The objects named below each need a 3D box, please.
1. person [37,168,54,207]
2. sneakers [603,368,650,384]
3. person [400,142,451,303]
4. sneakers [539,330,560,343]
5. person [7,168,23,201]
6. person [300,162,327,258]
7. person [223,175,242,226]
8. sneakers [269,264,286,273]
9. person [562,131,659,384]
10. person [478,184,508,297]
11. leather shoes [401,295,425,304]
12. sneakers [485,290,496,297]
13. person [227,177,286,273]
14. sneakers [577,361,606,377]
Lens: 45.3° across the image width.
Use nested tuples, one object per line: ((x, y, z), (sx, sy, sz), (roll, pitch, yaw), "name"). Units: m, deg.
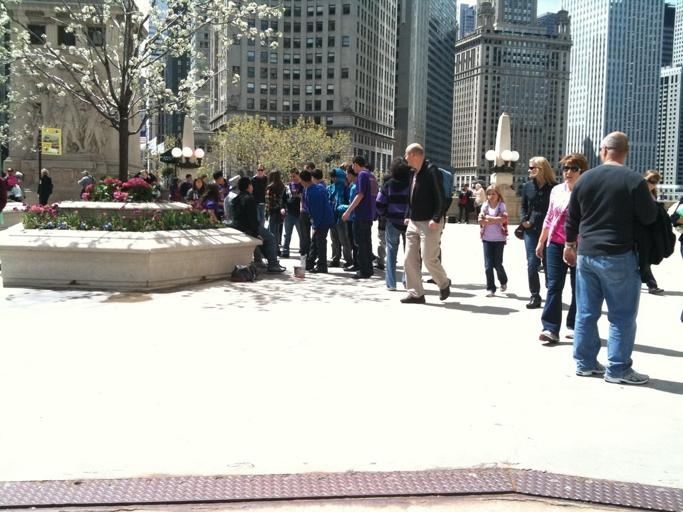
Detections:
((-10.406, -2.396, 28.737), (0.471, 1.135, 1.052), (-5, 16, -22), "person")
((3.091, 1.318, 8.813), (0.343, 0.176, 0.192), (-2, -1, -2), "sneakers")
((1.350, -0.472, 12.690), (0.725, 2.410, 0.810), (2, 14, 6), "person")
((2.619, 1.013, 10.264), (0.127, 0.121, 0.305), (-2, -10, 28), "sneakers")
((-10.833, -2.210, 27.181), (0.487, 1.103, 2.437), (-5, 16, -21), "person")
((-0.502, -0.723, 16.507), (0.617, 2.017, 0.989), (-2, 14, -11), "person")
((-2.121, -1.097, 16.287), (0.313, 0.876, 0.350), (8, 43, 5), "person")
((-1.268, 0.262, 16.187), (0.365, 0.234, 0.126), (-1, 1, -11), "sneakers")
((3.029, -0.027, 9.222), (0.932, 2.768, 0.783), (5, 6, 36), "person")
((2.631, -0.239, 13.988), (0.522, 1.920, 1.357), (3, 14, 11), "person")
((1.130, 0.650, 12.753), (0.389, 0.192, 0.140), (3, 2, 3), "leather shoes")
((2.486, 0.628, 13.598), (0.080, 0.144, 0.136), (3, 4, -24), "sneakers")
((-1.627, -0.647, 16.003), (1.014, 1.901, 0.804), (-3, 14, -16), "person")
((2.806, 1.243, 9.126), (0.364, 0.188, 0.133), (-1, 2, -29), "sneakers")
